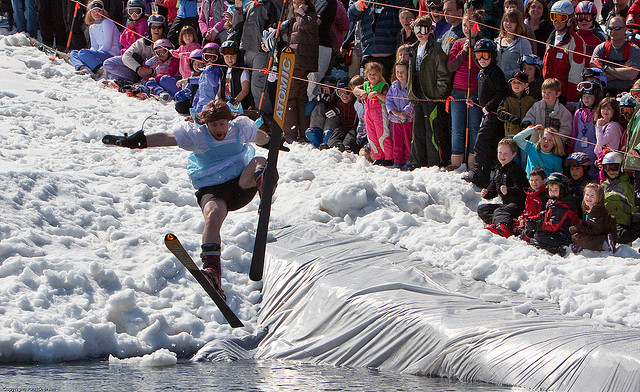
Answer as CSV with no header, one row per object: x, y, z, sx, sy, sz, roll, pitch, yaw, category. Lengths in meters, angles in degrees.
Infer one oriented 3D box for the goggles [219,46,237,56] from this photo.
-1.576,-2.503,14.755,0.291,0.151,0.111,2,11,-8,goggles

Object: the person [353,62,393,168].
0.878,-1.300,13.503,0.261,1.575,0.753,-5,14,-39,person

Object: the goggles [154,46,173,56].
-2.954,-2.720,16.153,0.335,0.165,0.108,3,11,-3,goggles

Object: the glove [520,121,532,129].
2.911,-1.002,12.093,0.102,0.092,0.081,15,-3,21,glove

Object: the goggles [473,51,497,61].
2.380,-2.006,12.303,0.304,0.140,0.113,5,11,7,goggles

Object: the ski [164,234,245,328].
-1.432,1.069,10.482,0.132,1.321,0.185,-47,12,-31,ski

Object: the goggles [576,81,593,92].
3.670,-1.509,11.827,0.226,0.153,0.085,11,13,35,goggles

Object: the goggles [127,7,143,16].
-3.614,-3.589,16.715,0.280,0.168,0.156,3,11,-5,goggles

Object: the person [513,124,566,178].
3.061,-0.623,11.799,0.688,1.161,0.457,-3,-5,20,person

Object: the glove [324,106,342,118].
0.215,-1.401,14.274,0.236,0.070,0.151,-18,60,-16,glove

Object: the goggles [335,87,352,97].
0.380,-1.715,14.204,0.111,0.146,0.342,-5,14,-38,goggles

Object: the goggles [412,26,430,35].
1.498,-2.479,12.859,0.136,0.122,0.296,-5,14,-39,goggles
